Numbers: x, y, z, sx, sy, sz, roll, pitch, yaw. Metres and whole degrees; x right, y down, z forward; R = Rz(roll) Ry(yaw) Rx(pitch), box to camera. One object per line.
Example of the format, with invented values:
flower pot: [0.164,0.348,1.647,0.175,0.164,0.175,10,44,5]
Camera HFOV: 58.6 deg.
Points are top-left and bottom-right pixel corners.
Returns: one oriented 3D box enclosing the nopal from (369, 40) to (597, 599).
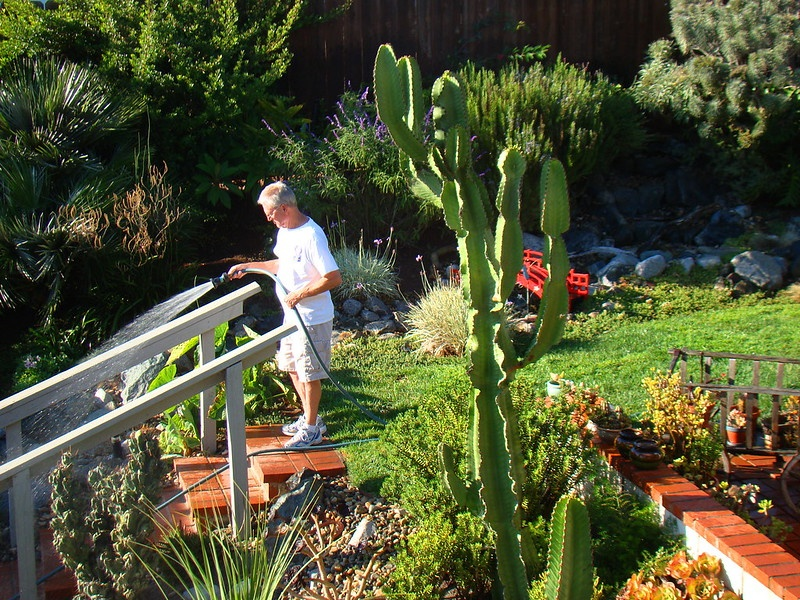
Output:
nopal: [0.537,0.169,4.155,0.828,3.365,1.384,-12,14,-30]

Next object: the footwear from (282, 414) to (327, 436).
footwear: [-0.878,1.103,6.272,0.462,0.256,0.175,2,7,-6]

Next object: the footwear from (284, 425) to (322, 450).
footwear: [-0.811,1.138,6.082,0.354,0.200,0.141,-5,16,-18]
